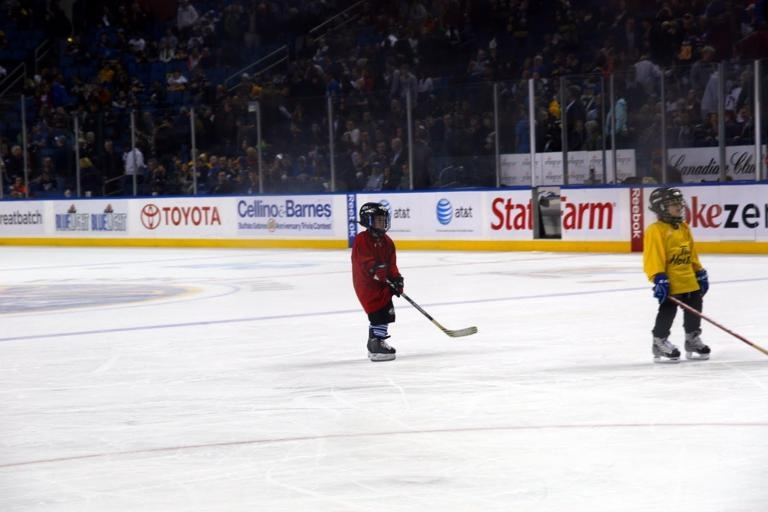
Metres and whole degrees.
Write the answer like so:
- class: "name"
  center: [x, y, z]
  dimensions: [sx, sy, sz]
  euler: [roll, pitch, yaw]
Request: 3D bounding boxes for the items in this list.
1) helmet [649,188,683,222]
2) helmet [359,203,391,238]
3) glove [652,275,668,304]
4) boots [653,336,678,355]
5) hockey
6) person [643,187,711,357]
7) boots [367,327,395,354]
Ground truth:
- class: "helmet"
  center: [2.522, -0.457, 7.766]
  dimensions: [0.399, 0.305, 0.293]
  euler: [-4, 7, 25]
- class: "helmet"
  center: [-0.161, -0.353, 8.421]
  dimensions: [0.390, 0.286, 0.301]
  euler: [0, 1, 18]
- class: "glove"
  center: [2.430, 0.287, 7.487]
  dimensions: [0.159, 0.213, 0.099]
  euler: [18, -18, -8]
- class: "boots"
  center: [2.504, 0.807, 7.568]
  dimensions: [0.160, 0.192, 0.204]
  euler: [-4, 4, -39]
- class: "hockey"
  center: [0.469, 0.603, 9.989]
  dimensions: [0.229, 0.150, 1.460]
  euler: [-5, 24, -45]
- class: "person"
  center: [2.621, 0.162, 7.600]
  dimensions: [0.534, 1.527, 0.489]
  euler: [0, 4, 18]
- class: "boots"
  center: [-0.051, 0.787, 8.103]
  dimensions: [0.259, 0.264, 0.206]
  euler: [-1, 3, -2]
